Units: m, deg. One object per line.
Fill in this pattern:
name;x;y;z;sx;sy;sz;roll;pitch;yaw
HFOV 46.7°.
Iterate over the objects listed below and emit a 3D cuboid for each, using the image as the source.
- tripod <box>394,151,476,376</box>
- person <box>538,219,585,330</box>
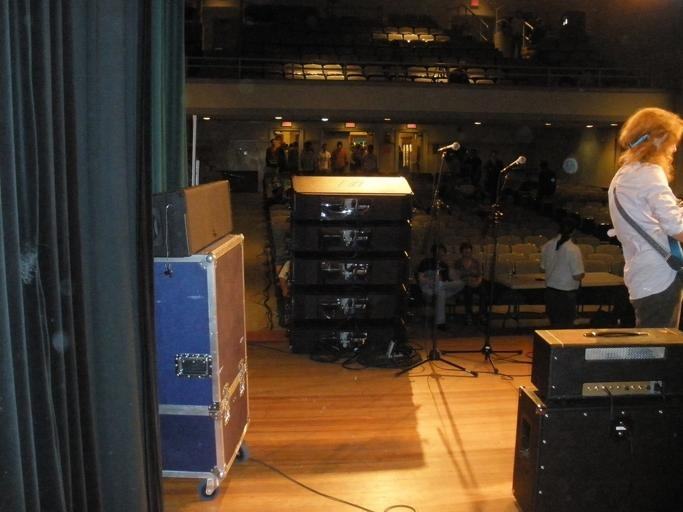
tripod;0.697;-0.023;5.709;0.541;1.646;1.259;0;12;9
person;1.672;0.145;5.943;0.269;0.889;0.400;-4;13;-8
